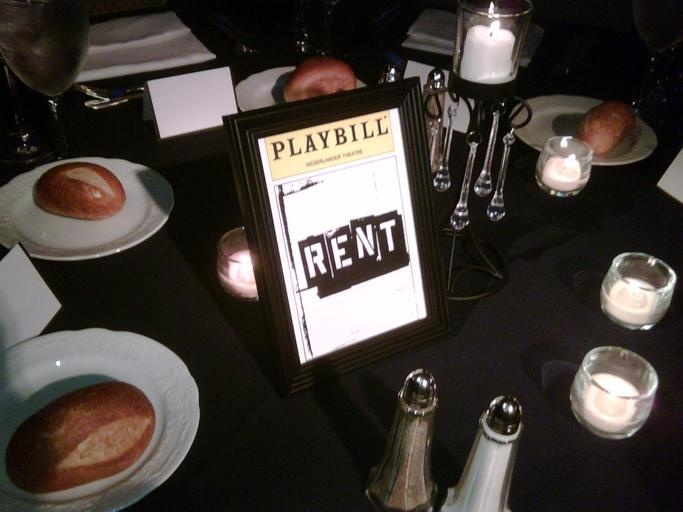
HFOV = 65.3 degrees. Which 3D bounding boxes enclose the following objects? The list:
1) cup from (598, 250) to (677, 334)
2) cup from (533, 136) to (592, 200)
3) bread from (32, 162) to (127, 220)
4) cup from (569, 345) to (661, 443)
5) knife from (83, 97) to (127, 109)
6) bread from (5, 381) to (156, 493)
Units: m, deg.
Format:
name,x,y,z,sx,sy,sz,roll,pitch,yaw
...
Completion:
name,x,y,z,sx,sy,sz,roll,pitch,yaw
cup,0.427,0.062,0.818,0.101,0.105,0.114,0,45,9
cup,0.374,-0.142,0.964,0.096,0.093,0.108,-4,45,-5
bread,-0.413,-0.100,0.836,0.132,0.056,0.088,8,48,10
cup,0.334,0.170,0.658,0.101,0.097,0.112,8,44,13
knife,-0.492,-0.313,1.100,0.060,0.015,0.035,-15,44,-17
bread,-0.283,0.197,0.582,0.145,0.049,0.085,-14,48,-9
